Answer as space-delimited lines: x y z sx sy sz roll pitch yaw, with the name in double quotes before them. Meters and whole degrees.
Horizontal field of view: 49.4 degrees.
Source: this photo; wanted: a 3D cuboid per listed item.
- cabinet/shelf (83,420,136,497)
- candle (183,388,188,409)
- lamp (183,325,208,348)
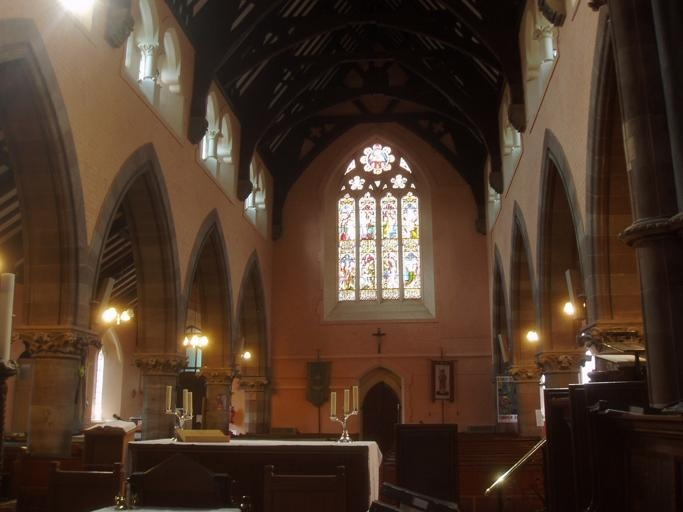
"cabinet/shelf" -2.914 2.447 9.239 0.649 1.006 2.110 5 -20 -18
"candle" -1.818 1.666 8.624 0.050 0.240 0.281 4 -19 -13
"lamp" -2.993 1.640 15.005 0.532 0.331 0.574 8 -18 -21
